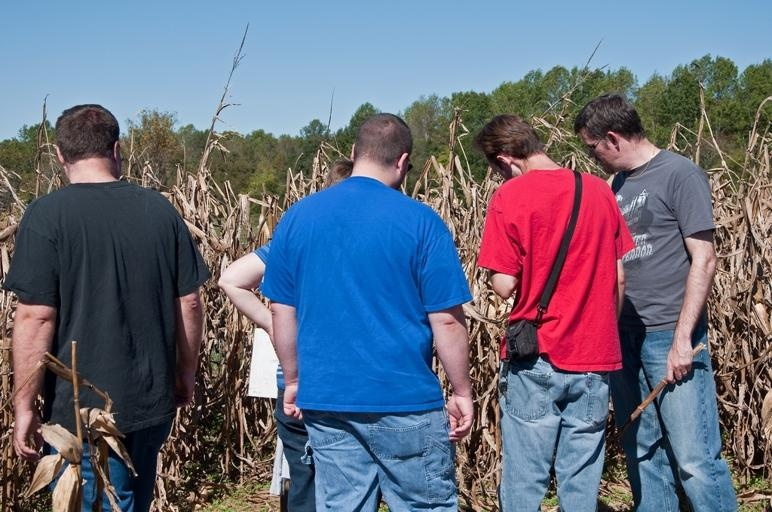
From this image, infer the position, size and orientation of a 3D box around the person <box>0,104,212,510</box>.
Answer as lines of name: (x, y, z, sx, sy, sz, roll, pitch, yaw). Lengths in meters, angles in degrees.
person: (-1.534, 0.312, 4.128, 1.022, 2.262, 0.420, 1, -5, -30)

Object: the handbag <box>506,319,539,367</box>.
handbag: (0.786, 0.506, 4.305, 0.164, 0.301, 0.233, 13, -12, -38)
